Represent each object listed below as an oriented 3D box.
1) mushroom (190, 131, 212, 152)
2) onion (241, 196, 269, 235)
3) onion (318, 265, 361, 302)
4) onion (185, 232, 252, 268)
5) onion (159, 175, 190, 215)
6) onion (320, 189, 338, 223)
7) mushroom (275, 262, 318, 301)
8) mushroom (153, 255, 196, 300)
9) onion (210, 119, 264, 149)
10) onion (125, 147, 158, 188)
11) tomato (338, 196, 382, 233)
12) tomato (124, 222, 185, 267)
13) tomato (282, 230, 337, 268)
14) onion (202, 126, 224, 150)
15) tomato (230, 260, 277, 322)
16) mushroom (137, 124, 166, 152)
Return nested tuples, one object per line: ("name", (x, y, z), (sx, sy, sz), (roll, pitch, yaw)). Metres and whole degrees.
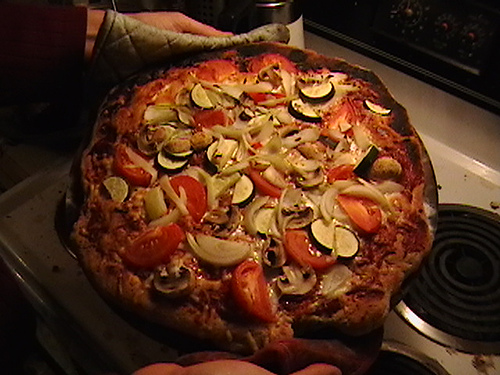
("mushroom", (-0.281, -0.264, 2.805), (0.097, 0.060, 0.105), (-24, 85, -2))
("onion", (0.029, 0.151, 2.653), (0.132, 0.064, 0.285), (17, 69, -3))
("onion", (0.506, 0.552, 2.624), (0.080, 0.314, 0.261), (-42, 84, -15))
("onion", (-0.170, 0.335, 2.525), (0.353, 0.079, 0.139), (7, 43, 0))
("onion", (-0.415, 0.050, 2.631), (0.033, 0.034, 0.226), (-35, 84, 9))
("onion", (0.426, 0.090, 2.621), (0.076, 0.080, 0.173), (16, 44, 11))
("mushroom", (0.249, 0.486, 2.498), (0.224, 0.135, 0.145), (8, 42, 2))
("mushroom", (-0.386, 0.471, 2.511), (0.237, 0.084, 0.287), (-9, 37, 5))
("onion", (-0.057, -0.287, 2.825), (0.280, 0.148, 0.083), (6, 27, -23))
("onion", (-0.617, -0.121, 2.720), (0.160, 0.060, 0.207), (12, 57, -19))
("tomato", (0.602, 0.149, 2.636), (0.236, 0.096, 0.165), (7, 43, 0))
("tomato", (-0.505, 0.310, 2.521), (0.296, 0.157, 0.166), (-17, 46, -23))
("tomato", (0.327, 0.299, 2.504), (0.072, 0.234, 0.234), (-38, 19, -29))
("onion", (-0.205, -0.300, 2.776), (0.093, 0.035, 0.132), (-34, 70, -30))
("tomato", (-0.012, 0.514, 2.514), (0.267, 0.117, 0.370), (22, 31, -28))
("mushroom", (-0.565, -0.286, 2.763), (0.135, 0.037, 0.145), (-23, 83, 3))
